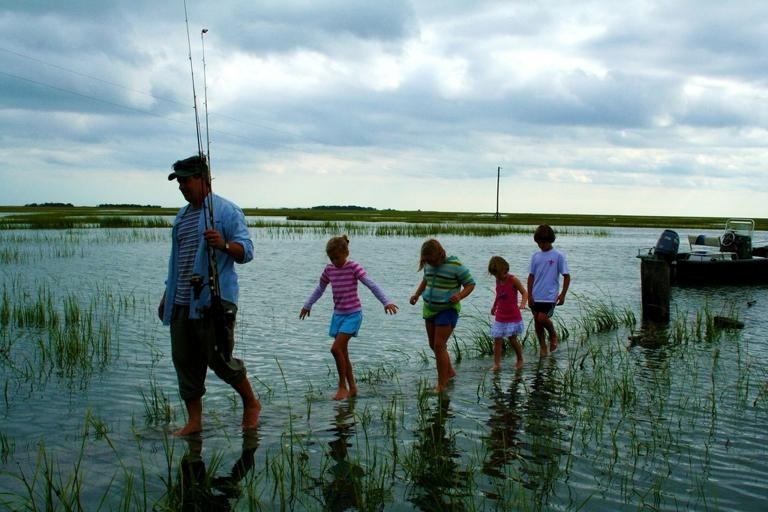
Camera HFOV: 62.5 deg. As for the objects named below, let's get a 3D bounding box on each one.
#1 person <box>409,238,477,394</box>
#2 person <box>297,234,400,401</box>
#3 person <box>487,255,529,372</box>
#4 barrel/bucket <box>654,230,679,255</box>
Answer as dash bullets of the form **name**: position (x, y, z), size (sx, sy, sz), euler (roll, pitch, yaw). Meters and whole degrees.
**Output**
- **person**: position (0.929, 0.936, 10.216), size (0.934, 2.358, 0.953), euler (1, 11, 3)
- **person**: position (-0.614, 0.940, 9.848), size (1.348, 2.430, 0.823), euler (5, 12, 23)
- **person**: position (2.188, 1.004, 11.235), size (0.662, 1.942, 0.783), euler (2, 12, 12)
- **barrel/bucket**: position (9.393, -0.410, 20.883), size (0.657, 1.058, 0.382), euler (19, 21, 21)
